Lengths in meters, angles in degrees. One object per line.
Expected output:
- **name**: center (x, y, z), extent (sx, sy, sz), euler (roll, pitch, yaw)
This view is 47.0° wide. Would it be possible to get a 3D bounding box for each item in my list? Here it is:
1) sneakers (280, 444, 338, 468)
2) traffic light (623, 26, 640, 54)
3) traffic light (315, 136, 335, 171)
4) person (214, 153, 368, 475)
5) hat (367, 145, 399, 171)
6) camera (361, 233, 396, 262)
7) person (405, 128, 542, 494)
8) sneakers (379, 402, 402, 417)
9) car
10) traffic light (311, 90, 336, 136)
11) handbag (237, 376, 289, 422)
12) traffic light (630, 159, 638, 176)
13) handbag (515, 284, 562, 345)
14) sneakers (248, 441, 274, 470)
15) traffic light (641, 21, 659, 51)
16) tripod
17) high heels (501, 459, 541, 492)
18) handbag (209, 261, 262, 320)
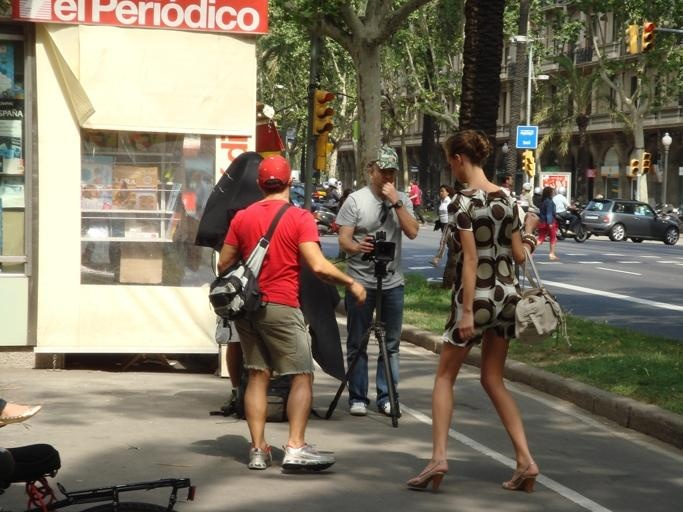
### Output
- **sneakers**: center (-0.224, 1.387, 5.479), extent (0.412, 0.198, 0.154), euler (3, -21, -14)
- **traffic light**: center (8.333, -6.256, 22.426), extent (0.319, 0.940, 1.464), euler (3, 5, 21)
- **traffic light**: center (-0.395, -2.313, 17.114), extent (0.380, 0.740, 0.358), euler (-1, 6, -13)
- **person**: center (-0.390, 0.395, 5.524), extent (0.935, 2.203, 0.573), euler (1, 4, -6)
- **hat**: center (0.383, -0.863, 6.928), extent (0.178, 0.185, 0.252), euler (3, 4, -12)
- **camera**: center (0.335, -0.067, 6.805), extent (0.231, 0.233, 0.241), euler (1, -5, -4)
- **person**: center (0.951, 0.544, 5.363), extent (0.801, 2.095, 0.586), euler (2, 4, 6)
- **sneakers**: center (0.433, 1.383, 7.119), extent (0.113, 0.128, 0.300), euler (2, -6, -29)
- **car**: center (12.346, -1.536, 33.990), extent (3.387, 1.405, 2.177), euler (0, 6, -20)
- **traffic light**: center (-0.322, -2.943, 16.033), extent (0.428, 0.929, 0.288), euler (1, 3, -10)
- **handbag**: center (-0.653, 1.194, 6.848), extent (0.430, 0.421, 0.419), euler (1, 3, 3)
- **traffic light**: center (15.142, -4.630, 40.521), extent (0.361, 0.775, 1.520), euler (3, 5, 23)
- **handbag**: center (1.338, 0.330, 5.467), extent (0.273, 0.474, 0.483), euler (-10, -4, 23)
- **sneakers**: center (-0.542, 1.410, 5.494), extent (0.111, 0.184, 0.231), euler (5, 6, 39)
- **traffic light**: center (8.621, -6.219, 22.116), extent (0.308, 0.824, 1.246), euler (3, 5, 18)
- **tripod**: center (0.406, 0.773, 6.934), extent (0.738, 1.420, 0.765), euler (6, -5, -33)
- **high heels**: center (1.207, 1.483, 5.367), extent (0.135, 0.214, 0.298), euler (-3, 5, -44)
- **handbag**: center (-0.704, 0.260, 5.415), extent (0.274, 0.369, 0.397), euler (-20, -17, 30)
